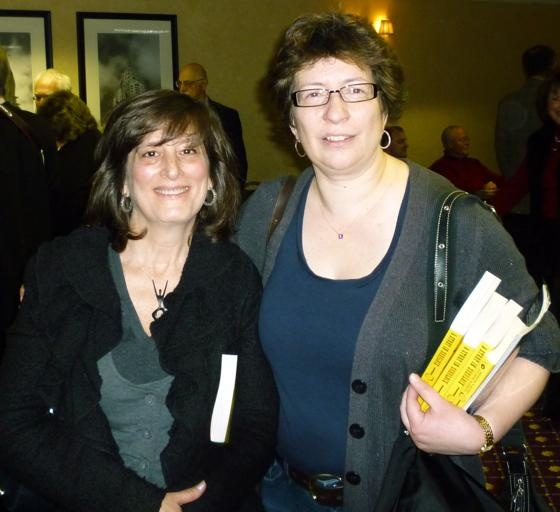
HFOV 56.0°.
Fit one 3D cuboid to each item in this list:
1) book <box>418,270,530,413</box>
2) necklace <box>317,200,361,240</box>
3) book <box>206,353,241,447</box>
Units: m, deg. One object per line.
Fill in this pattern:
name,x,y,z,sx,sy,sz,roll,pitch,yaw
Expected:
book,0.456,0.204,1.301,0.121,0.336,0.261,36,10,9
necklace,0.173,-0.115,1.632,0.066,0.119,0.029,-37,-6,37
book,-0.160,0.429,1.591,0.069,0.270,0.072,5,-13,10
